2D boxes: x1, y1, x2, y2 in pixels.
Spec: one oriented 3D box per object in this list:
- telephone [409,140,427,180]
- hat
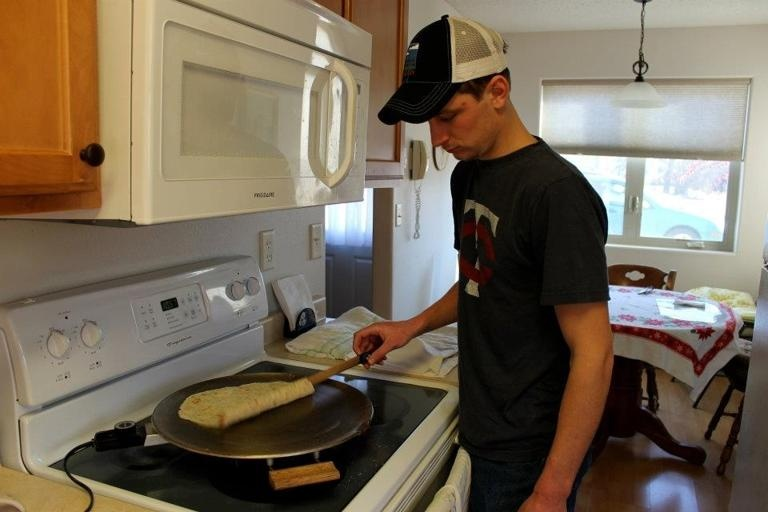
[{"bbox_3d":[0.218,-0.637,3.706,0.135,0.263,0.268,0,2,8],"label":"telephone"},{"bbox_3d":[0.147,-0.446,1.424,0.342,0.199,0.219,-30,28,-11],"label":"hat"}]
